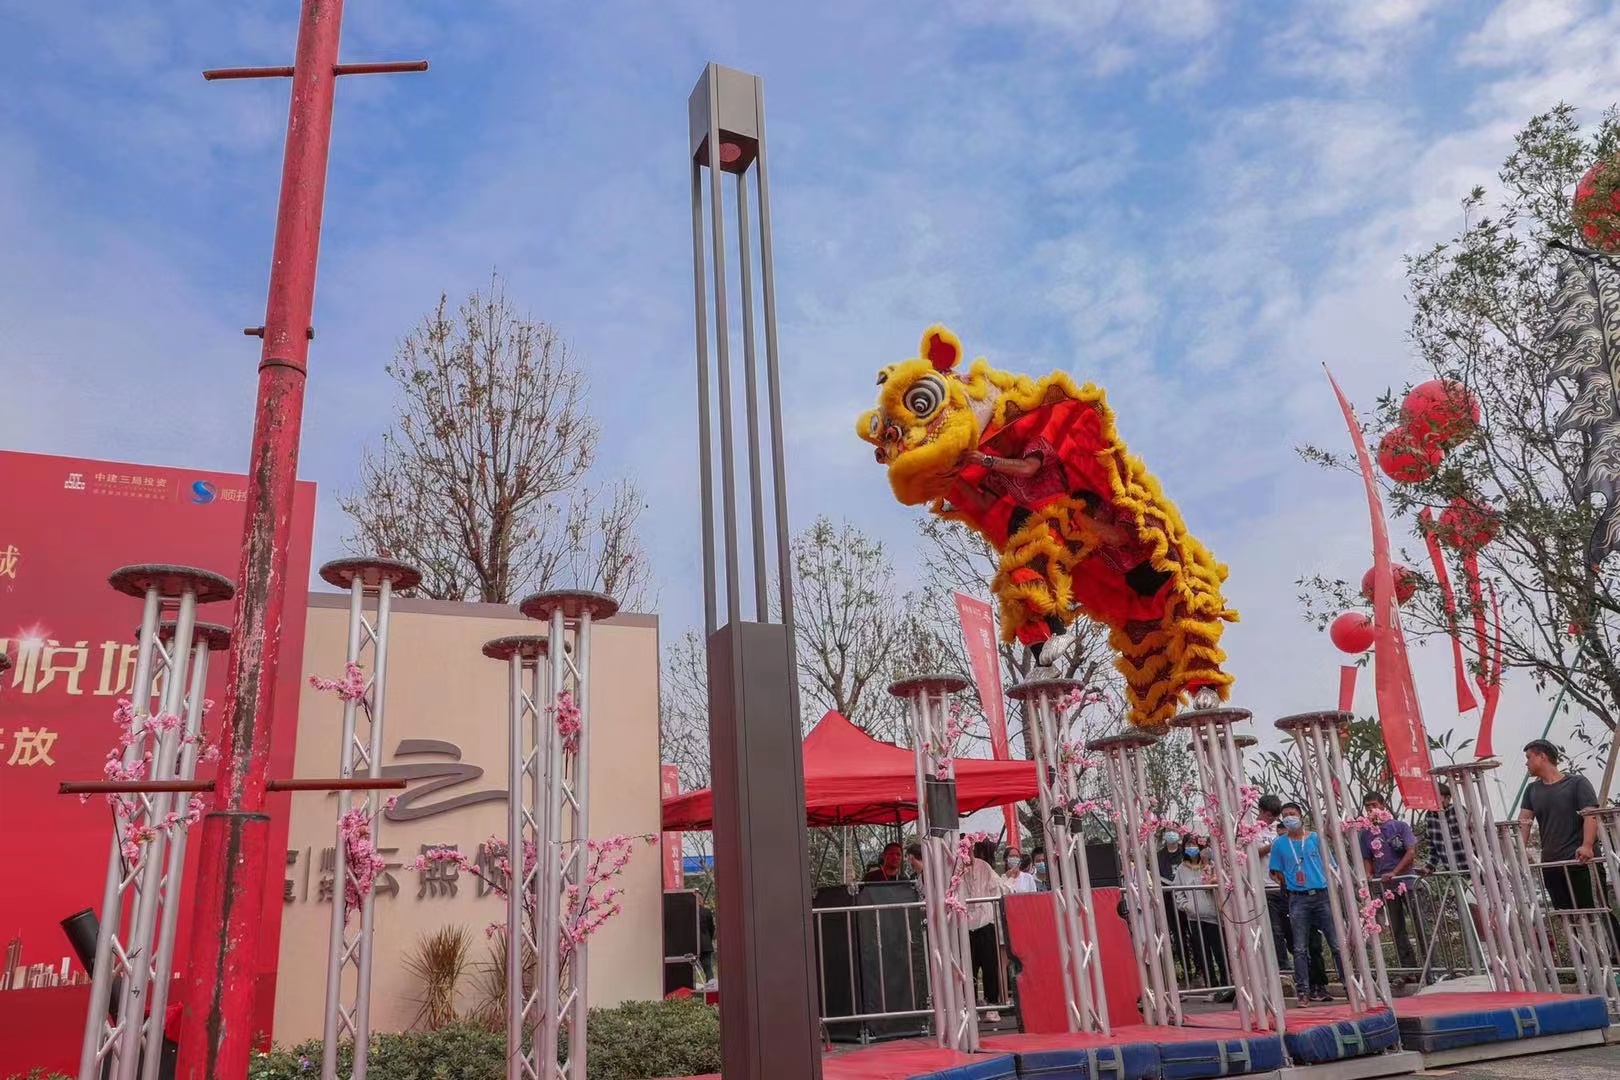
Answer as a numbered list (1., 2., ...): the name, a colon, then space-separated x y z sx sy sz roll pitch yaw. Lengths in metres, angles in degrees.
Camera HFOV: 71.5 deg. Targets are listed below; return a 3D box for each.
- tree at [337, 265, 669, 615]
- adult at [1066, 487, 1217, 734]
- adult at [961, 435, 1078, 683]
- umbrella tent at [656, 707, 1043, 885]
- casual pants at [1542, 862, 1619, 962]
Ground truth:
1. tree: -4.033 -0.537 13.117 3.205 4.337 3.015 -6 -30 -1
2. adult: 3.379 0.887 10.469 1.368 2.248 0.994 8 26 31
3. adult: 1.839 0.005 10.095 1.255 2.227 1.073 -5 -24 5
4. umbrella tent: 1.114 3.155 14.653 3.488 1.281 3.468 -16 -42 10
5. casual pants: 7.789 3.737 11.506 0.955 0.960 0.262 4 -5 29
